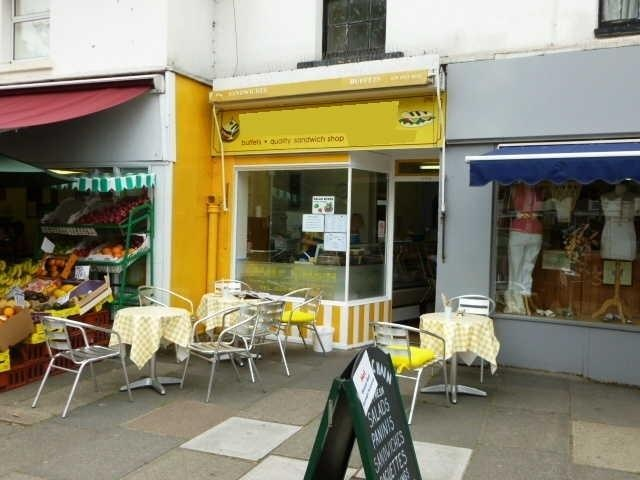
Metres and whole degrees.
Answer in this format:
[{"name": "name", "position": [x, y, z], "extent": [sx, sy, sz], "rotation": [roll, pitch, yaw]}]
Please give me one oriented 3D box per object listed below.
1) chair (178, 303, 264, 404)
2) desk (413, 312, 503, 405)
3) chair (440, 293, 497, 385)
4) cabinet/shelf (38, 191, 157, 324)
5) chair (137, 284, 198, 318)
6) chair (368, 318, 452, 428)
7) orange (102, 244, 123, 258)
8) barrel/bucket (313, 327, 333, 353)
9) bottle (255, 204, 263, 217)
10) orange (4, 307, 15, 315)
[{"name": "chair", "position": [-1.258, 1.413, 7.609], "extent": [0.789, 1.134, 0.823], "rotation": [4, -1, -30]}, {"name": "desk", "position": [1.796, 1.358, 7.566], "extent": [1.013, 0.970, 1.070], "rotation": [2, 6, 10]}, {"name": "chair", "position": [2.093, 1.420, 8.237], "extent": [0.770, 1.280, 0.711], "rotation": [2, 3, 11]}, {"name": "cabinet/shelf", "position": [-3.924, 0.214, 9.914], "extent": [1.935, 2.051, 0.765], "rotation": [1, 1, 23]}, {"name": "chair", "position": [-2.562, 1.048, 9.425], "extent": [0.913, 0.755, 0.820], "rotation": [9, 5, 40]}, {"name": "chair", "position": [1.095, 1.480, 7.053], "extent": [0.864, 1.148, 0.969], "rotation": [-2, 5, 24]}, {"name": "orange", "position": [-3.403, 0.181, 9.581], "extent": [0.239, 0.106, 0.250], "rotation": [10, 10, 26]}, {"name": "barrel/bucket", "position": [0.043, 1.593, 9.288], "extent": [0.315, 0.305, 0.349], "rotation": [0, -1, -1]}, {"name": "bottle", "position": [-1.073, -0.521, 10.222], "extent": [0.130, 0.213, 0.026], "rotation": [3, 7, 17]}, {"name": "orange", "position": [-3.971, 0.900, 7.399], "extent": [0.091, 0.101, 0.095], "rotation": [0, 2, 10]}]
